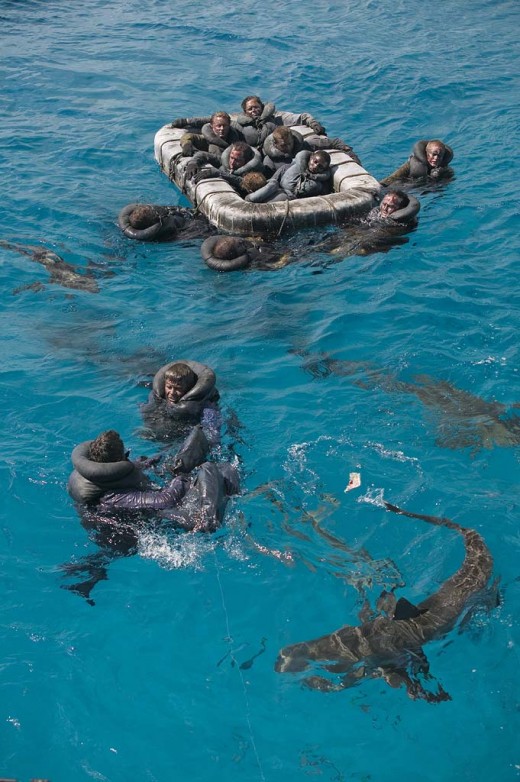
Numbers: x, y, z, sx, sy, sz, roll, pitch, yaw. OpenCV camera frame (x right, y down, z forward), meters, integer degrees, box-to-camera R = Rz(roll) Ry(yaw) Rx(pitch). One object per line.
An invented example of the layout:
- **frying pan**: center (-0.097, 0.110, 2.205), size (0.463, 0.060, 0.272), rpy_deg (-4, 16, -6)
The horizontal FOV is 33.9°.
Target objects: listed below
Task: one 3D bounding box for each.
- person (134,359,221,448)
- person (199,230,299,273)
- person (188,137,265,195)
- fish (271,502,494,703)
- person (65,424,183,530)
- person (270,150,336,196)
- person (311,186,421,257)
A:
- **person**: center (-0.877, 0.143, 10.485), size (0.782, 0.809, 0.958), rpy_deg (21, 51, 35)
- **person**: center (-0.248, -2.363, 14.391), size (1.417, 0.527, 1.016), rpy_deg (-10, 26, -11)
- **person**: center (-0.530, -4.305, 16.457), size (1.494, 0.542, 0.934), rpy_deg (-24, 53, -11)
- **fish**: center (1.223, 1.898, 7.688), size (1.442, 0.407, 1.294), rpy_deg (-25, 34, -13)
- **person**: center (-1.468, 1.041, 9.224), size (1.304, 1.154, 0.978), rpy_deg (-4, 20, -11)
- **person**: center (0.867, -4.043, 16.166), size (1.009, 0.431, 1.072), rpy_deg (28, 65, 20)
- **person**: center (1.896, -2.915, 14.704), size (1.282, 0.802, 1.772), rpy_deg (16, 32, 37)
